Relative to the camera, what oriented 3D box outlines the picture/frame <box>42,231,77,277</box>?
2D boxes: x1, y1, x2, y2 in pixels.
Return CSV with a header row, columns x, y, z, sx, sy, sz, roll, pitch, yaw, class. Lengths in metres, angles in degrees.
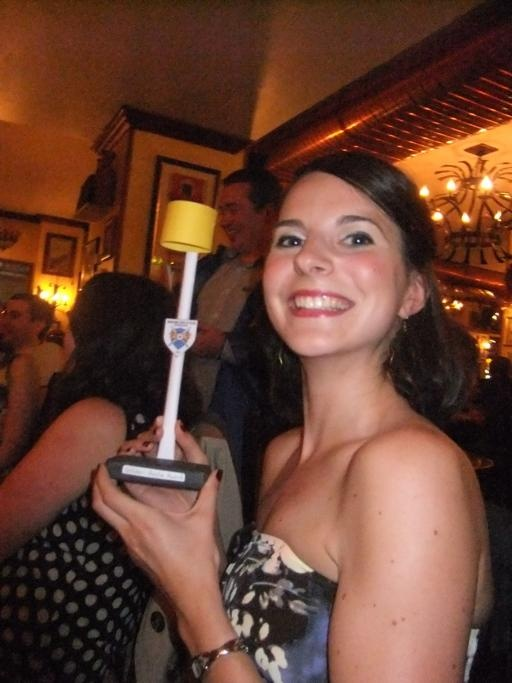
x,y,z,sx,sy,sz,roll,pitch,yaw,class
-3.738,-1.622,10.501,0.618,0.737,0.086,11,8,7,picture/frame
